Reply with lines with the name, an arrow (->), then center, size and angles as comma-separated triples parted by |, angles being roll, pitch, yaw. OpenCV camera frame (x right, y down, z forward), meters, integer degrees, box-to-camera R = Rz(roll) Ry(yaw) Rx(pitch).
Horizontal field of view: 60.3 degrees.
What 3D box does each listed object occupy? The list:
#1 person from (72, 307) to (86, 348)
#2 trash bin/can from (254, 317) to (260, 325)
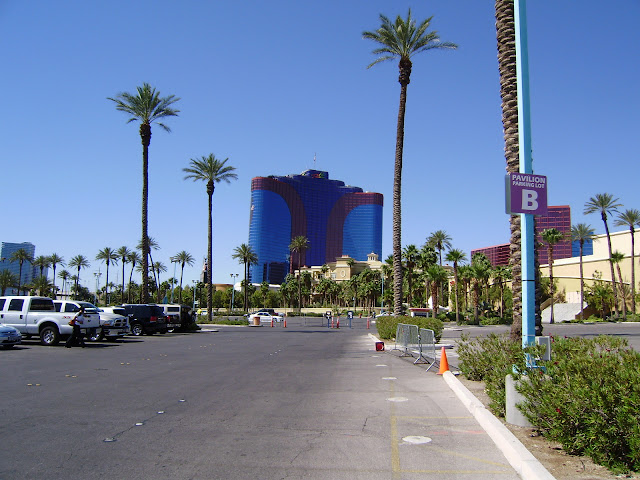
person -> -11.004, 3.864, 24.922 | 0.559, 1.740, 0.933 | 3, -8, -25
trash bin/can -> -6.892, 8.731, 59.498 | 0.617, 0.691, 0.643 | -4, -6, 32
